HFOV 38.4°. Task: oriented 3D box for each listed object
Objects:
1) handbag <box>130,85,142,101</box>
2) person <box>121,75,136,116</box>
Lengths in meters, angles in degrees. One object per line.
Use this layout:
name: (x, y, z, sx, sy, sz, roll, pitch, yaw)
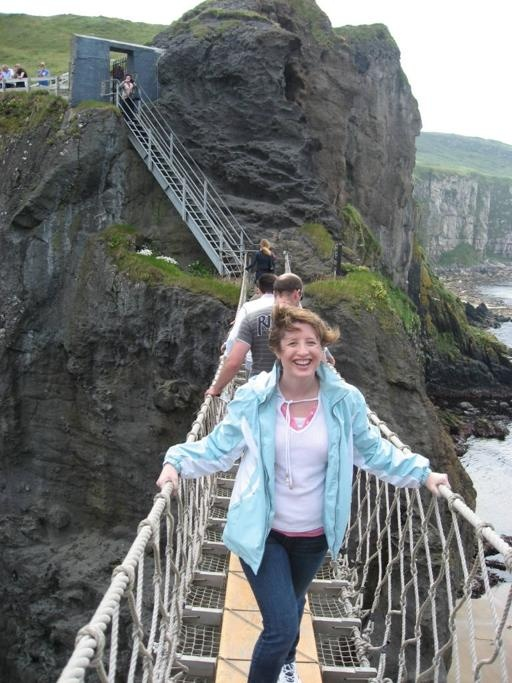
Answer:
handbag: (-2.466, -5.171, 15.297, 0.141, 0.371, 0.276, 5, 24, 18)
person: (-2.605, -5.016, 15.059, 0.299, 0.835, 0.765, 2, 11, -11)
